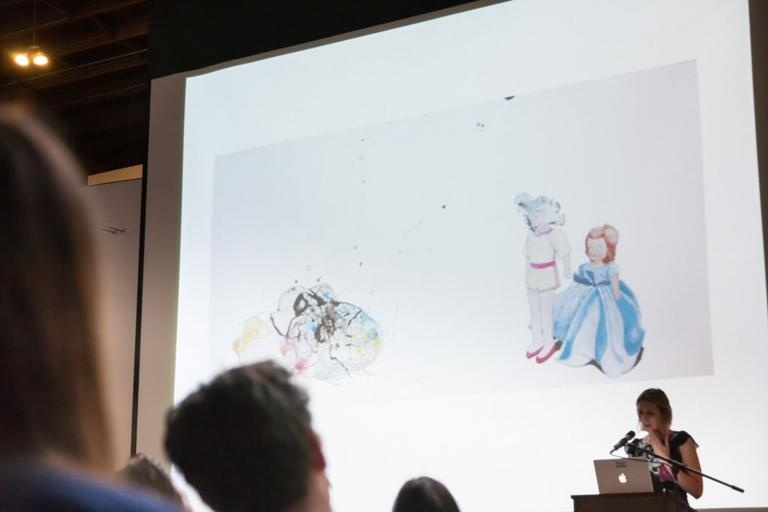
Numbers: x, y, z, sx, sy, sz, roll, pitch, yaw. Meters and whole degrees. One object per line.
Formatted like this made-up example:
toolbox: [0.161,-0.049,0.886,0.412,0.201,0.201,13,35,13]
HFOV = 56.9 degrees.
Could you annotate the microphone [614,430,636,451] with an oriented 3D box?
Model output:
microphone: [1.090,0.836,3.204,0.100,0.029,0.026,-48,1,13]
